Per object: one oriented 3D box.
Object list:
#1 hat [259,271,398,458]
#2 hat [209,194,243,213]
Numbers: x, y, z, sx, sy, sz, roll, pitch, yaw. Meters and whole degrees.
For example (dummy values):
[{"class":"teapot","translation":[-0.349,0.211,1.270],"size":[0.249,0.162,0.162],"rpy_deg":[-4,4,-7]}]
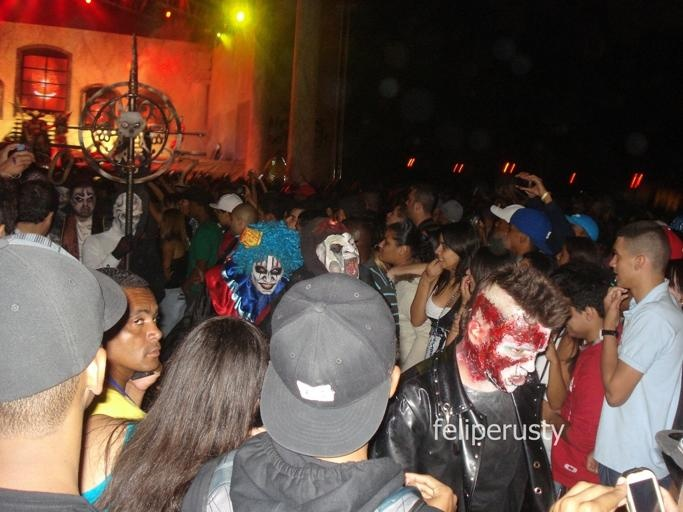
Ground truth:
[{"class":"hat","translation":[-0.039,0.387,1.720],"size":[0.388,0.571,0.228],"rpy_deg":[3,-25,7]},{"class":"hat","translation":[-1.472,-0.692,6.787],"size":[0.488,0.287,0.351],"rpy_deg":[6,8,-6]}]
